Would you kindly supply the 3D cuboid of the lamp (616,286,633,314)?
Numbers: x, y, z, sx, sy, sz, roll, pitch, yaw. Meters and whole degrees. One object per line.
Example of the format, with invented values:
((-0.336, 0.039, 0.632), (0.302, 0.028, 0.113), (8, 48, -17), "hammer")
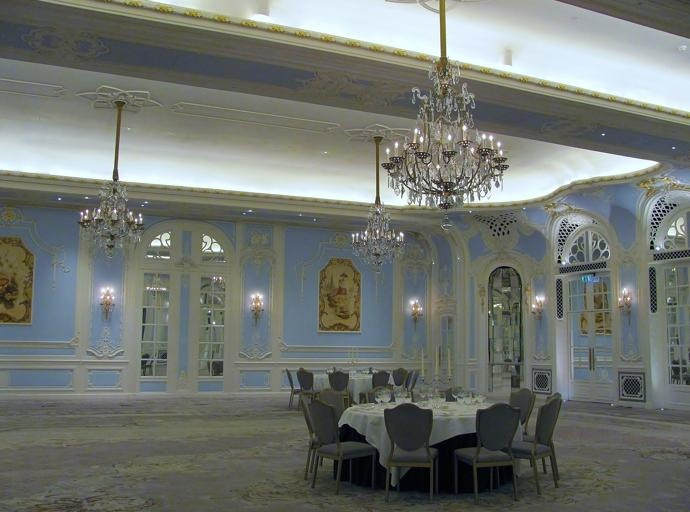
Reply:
((6.955, 1.097, 12.841), (0.259, 0.889, 0.417), (18, -23, -22), "lamp")

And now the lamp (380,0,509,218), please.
((1.519, -1.837, 7.821), (1.668, 2.713, 4.328), (-1, -8, 12), "lamp")

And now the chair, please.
((0.910, 2.158, 5.981), (2.895, 1.031, 1.305), (-2, -8, 15), "chair")

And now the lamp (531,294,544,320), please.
((5.457, 1.433, 14.646), (0.353, 0.653, 0.118), (-2, -7, 22), "lamp")

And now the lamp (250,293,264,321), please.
((-2.574, 1.479, 15.116), (0.364, 0.794, 0.139), (2, -6, -13), "lamp")

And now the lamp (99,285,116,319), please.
((-6.444, 1.275, 13.987), (0.366, 0.883, 0.141), (3, -7, -23), "lamp")

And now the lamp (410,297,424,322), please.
((2.271, 1.737, 16.571), (0.586, 0.888, 0.308), (8, -17, -24), "lamp")
